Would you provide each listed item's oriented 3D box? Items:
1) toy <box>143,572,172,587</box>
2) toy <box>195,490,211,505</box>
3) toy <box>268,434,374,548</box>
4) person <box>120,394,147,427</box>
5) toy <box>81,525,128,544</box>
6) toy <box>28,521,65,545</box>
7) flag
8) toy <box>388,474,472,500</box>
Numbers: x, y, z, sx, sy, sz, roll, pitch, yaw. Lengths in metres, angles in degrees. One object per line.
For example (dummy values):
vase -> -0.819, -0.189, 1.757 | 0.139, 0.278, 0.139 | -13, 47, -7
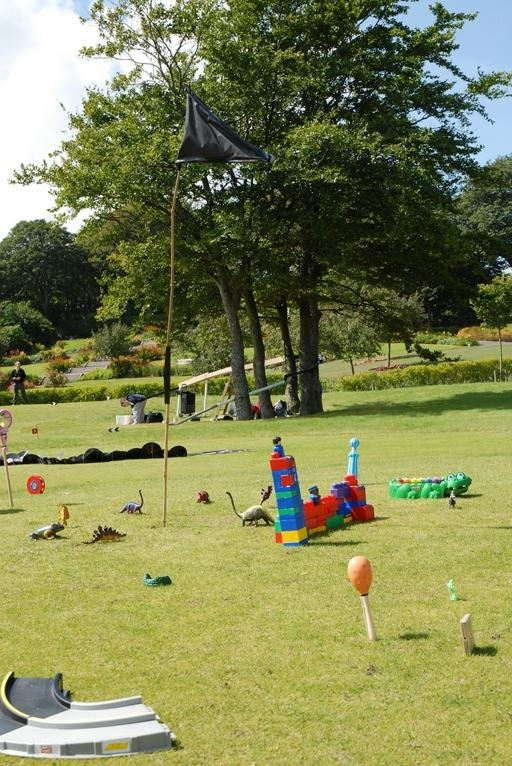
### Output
toy -> -0.989, 1.980, 9.516 | 0.278, 0.087, 0.263 | -5, 3, -7
toy -> -0.797, 1.730, 14.337 | 0.109, 0.167, 0.317 | 3, -1, 6
toy -> 0.973, 1.567, 13.721 | 0.482, 1.057, 1.276 | -6, -1, 41
person -> -4.852, 0.965, 36.572 | 1.305, 1.383, 1.080 | 6, 2, 6
toy -> -1.850, 1.846, 11.697 | 0.656, 0.250, 0.189 | -5, 9, -17
toy -> -2.659, 1.885, 12.019 | 0.428, 0.151, 0.339 | -6, 4, -23
flag -> -0.284, -3.527, 13.195 | 1.870, 1.191, 0.640 | 2, 28, -5
toy -> 2.521, 1.516, 13.748 | 0.816, 0.246, 0.559 | -2, -1, 16
